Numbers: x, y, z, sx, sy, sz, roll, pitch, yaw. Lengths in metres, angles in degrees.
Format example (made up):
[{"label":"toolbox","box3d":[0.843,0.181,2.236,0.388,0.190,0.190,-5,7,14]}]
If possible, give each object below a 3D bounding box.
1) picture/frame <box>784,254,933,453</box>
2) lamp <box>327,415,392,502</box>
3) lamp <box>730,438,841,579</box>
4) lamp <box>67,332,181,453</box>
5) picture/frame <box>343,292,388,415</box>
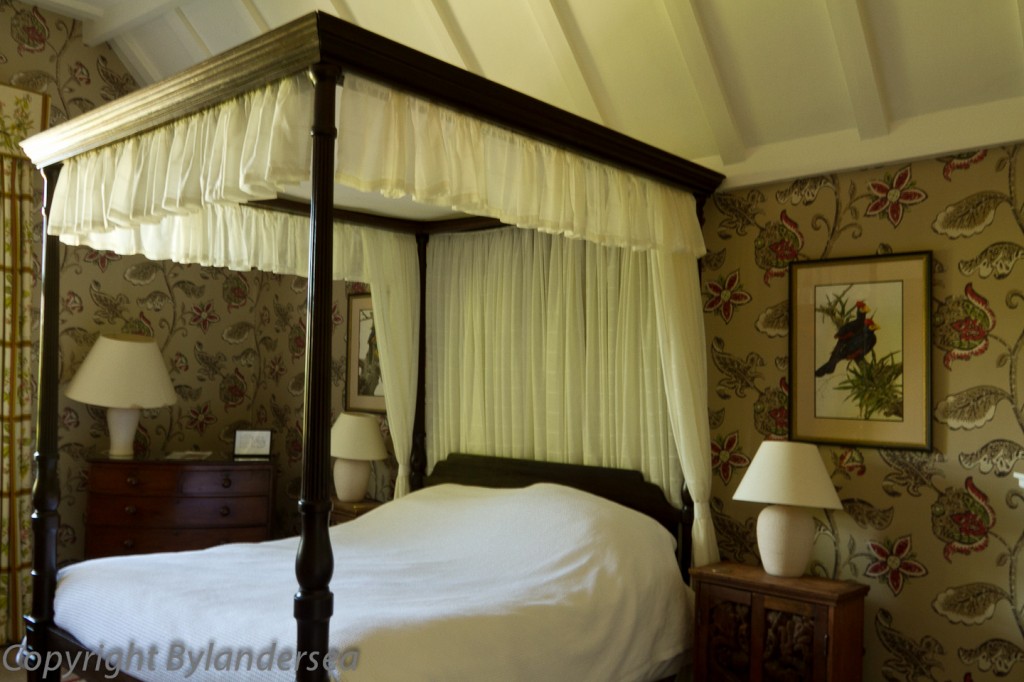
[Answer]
[{"label":"picture/frame","box3d":[2.060,0.084,4.597,1.033,1.600,0.027,-3,-6,38]},{"label":"lamp","box3d":[-1.174,0.885,6.260,0.577,0.718,0.583,-1,5,-29]},{"label":"lamp","box3d":[1.592,0.971,4.545,0.612,0.749,0.644,1,-15,28]},{"label":"lamp","box3d":[-2.885,0.360,6.081,0.770,0.945,0.813,1,2,8]},{"label":"picture/frame","box3d":[-1.163,0.109,6.283,0.039,0.880,0.861,3,-7,-34]}]
